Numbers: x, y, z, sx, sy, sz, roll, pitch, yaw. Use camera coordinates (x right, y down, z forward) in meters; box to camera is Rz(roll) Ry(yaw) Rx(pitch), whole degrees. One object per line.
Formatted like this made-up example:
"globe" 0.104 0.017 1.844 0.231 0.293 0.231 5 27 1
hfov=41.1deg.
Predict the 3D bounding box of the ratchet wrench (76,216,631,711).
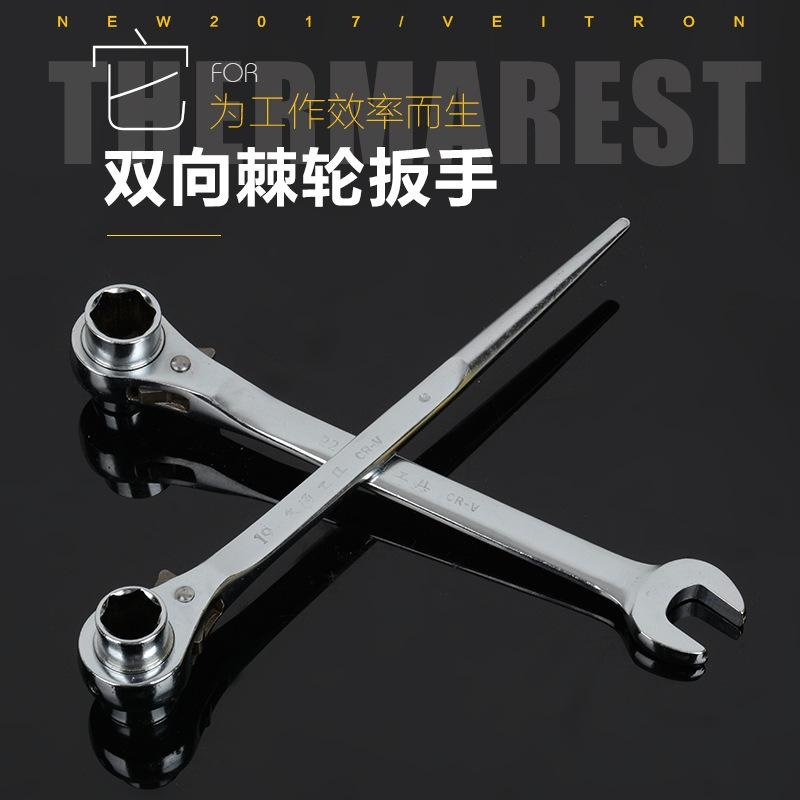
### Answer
"ratchet wrench" 0.096 -0.065 1.286 0.177 0.155 1.140 42 59 13
